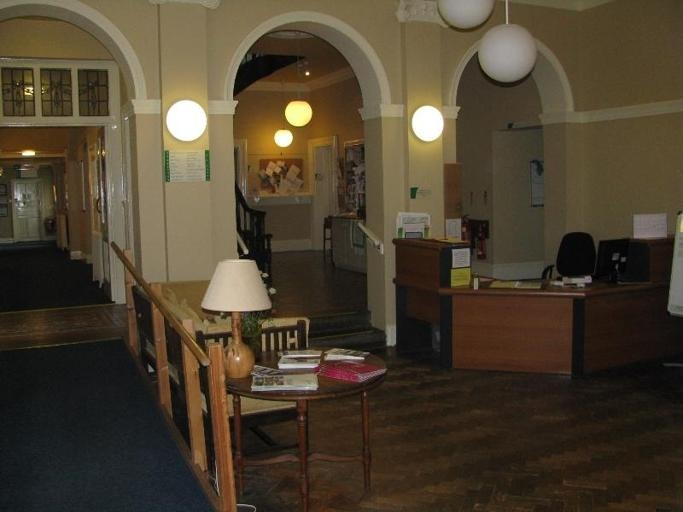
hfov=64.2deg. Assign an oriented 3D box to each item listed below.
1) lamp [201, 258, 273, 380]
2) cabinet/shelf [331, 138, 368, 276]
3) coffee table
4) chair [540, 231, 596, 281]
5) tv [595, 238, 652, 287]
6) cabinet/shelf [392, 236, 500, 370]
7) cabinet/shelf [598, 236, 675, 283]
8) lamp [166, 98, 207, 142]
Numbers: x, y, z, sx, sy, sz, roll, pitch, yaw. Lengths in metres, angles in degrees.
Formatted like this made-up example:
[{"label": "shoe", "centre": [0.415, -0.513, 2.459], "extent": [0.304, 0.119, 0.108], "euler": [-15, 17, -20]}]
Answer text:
[{"label": "lamp", "centre": [-0.763, 0.431, 3.956], "extent": [0.470, 0.831, 0.371], "euler": [-3, 11, -16]}, {"label": "cabinet/shelf", "centre": [0.144, -1.266, 12.465], "extent": [0.757, 2.721, 3.600], "euler": [0, 12, 0]}, {"label": "coffee table", "centre": [-0.335, 1.161, 4.008], "extent": [1.020, 0.833, 1.046], "euler": [3, 7, 38]}, {"label": "chair", "centre": [3.259, -0.015, 7.790], "extent": [0.567, 0.875, 0.571], "euler": [7, -8, 4]}, {"label": "tv", "centre": [3.386, 0.042, 6.703], "extent": [0.780, 0.566, 0.304], "euler": [-4, 11, -19]}, {"label": "cabinet/shelf", "centre": [1.247, 0.644, 6.866], "extent": [0.589, 1.577, 1.352], "euler": [-4, 8, -27]}, {"label": "cabinet/shelf", "centre": [3.884, 0.047, 6.920], "extent": [0.532, 0.535, 0.322], "euler": [-2, 5, -36]}, {"label": "lamp", "centre": [-1.847, -1.611, 6.445], "extent": [0.428, 0.475, 0.100], "euler": [2, 12, -23]}]
